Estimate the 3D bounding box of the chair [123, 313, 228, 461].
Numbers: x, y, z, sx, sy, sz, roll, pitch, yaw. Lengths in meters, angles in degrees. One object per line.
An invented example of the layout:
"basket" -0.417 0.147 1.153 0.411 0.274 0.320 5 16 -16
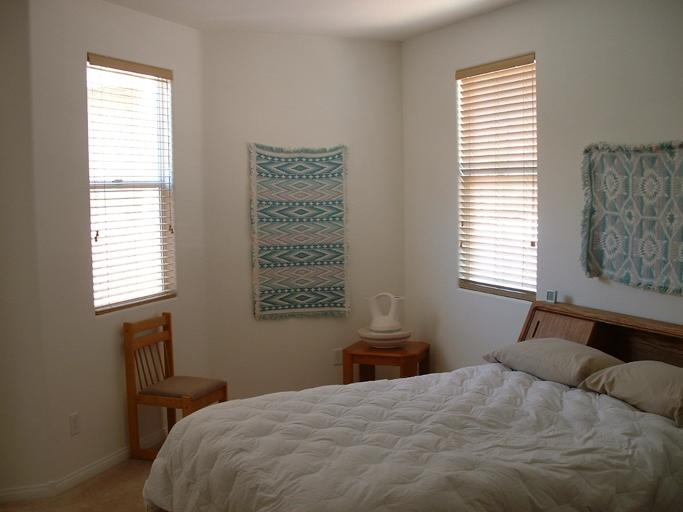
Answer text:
"chair" -1.222 0.946 3.785 0.625 0.972 0.624 -1 1 31
